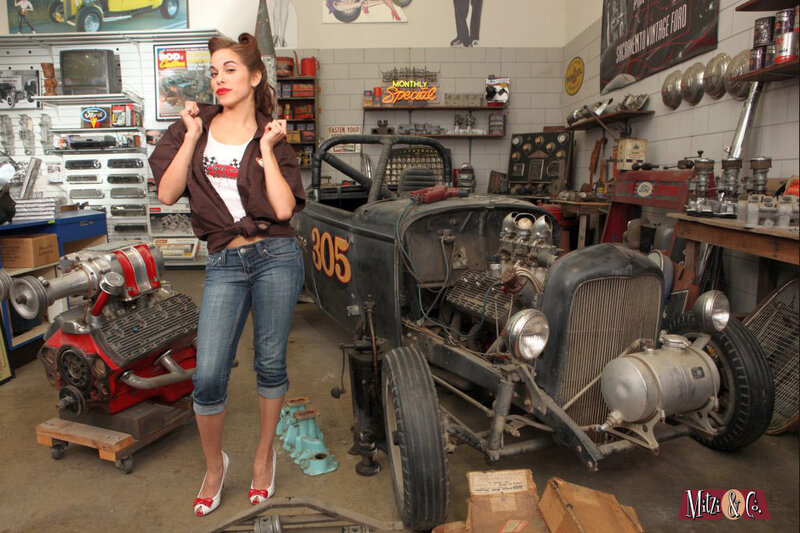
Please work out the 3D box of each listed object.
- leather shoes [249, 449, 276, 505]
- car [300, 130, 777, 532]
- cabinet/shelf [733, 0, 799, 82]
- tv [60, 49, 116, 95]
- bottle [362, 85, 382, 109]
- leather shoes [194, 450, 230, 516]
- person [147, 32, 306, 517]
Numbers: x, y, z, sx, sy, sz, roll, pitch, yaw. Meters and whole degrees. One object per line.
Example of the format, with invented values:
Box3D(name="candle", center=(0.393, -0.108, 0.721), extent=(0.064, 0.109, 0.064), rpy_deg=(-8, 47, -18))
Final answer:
Box3D(name="leather shoes", center=(-0.862, 1.299, 3.092), extent=(0.130, 0.102, 0.356), rpy_deg=(9, 30, -13))
Box3D(name="car", center=(0.355, 0.228, 3.775), extent=(1.953, 1.339, 2.936), rpy_deg=(-2, 7, -27))
Box3D(name="cabinet/shelf", center=(3.010, -1.863, 4.097), extent=(0.507, 0.612, 0.805), rpy_deg=(10, 19, 30))
Box3D(name="tv", center=(-5.074, -3.119, 8.239), extent=(0.830, 0.701, 0.601), rpy_deg=(0, 7, -2))
Box3D(name="bottle", center=(-0.465, -2.886, 8.559), extent=(0.335, 0.346, 0.384), rpy_deg=(-1, 16, -3))
Box3D(name="leather shoes", center=(-1.123, 1.284, 3.076), extent=(0.153, 0.418, 0.121), rpy_deg=(6, -16, 34))
Box3D(name="person", center=(-0.956, 0.065, 2.925), extent=(0.789, 2.712, 0.726), rpy_deg=(-8, 18, -25))
